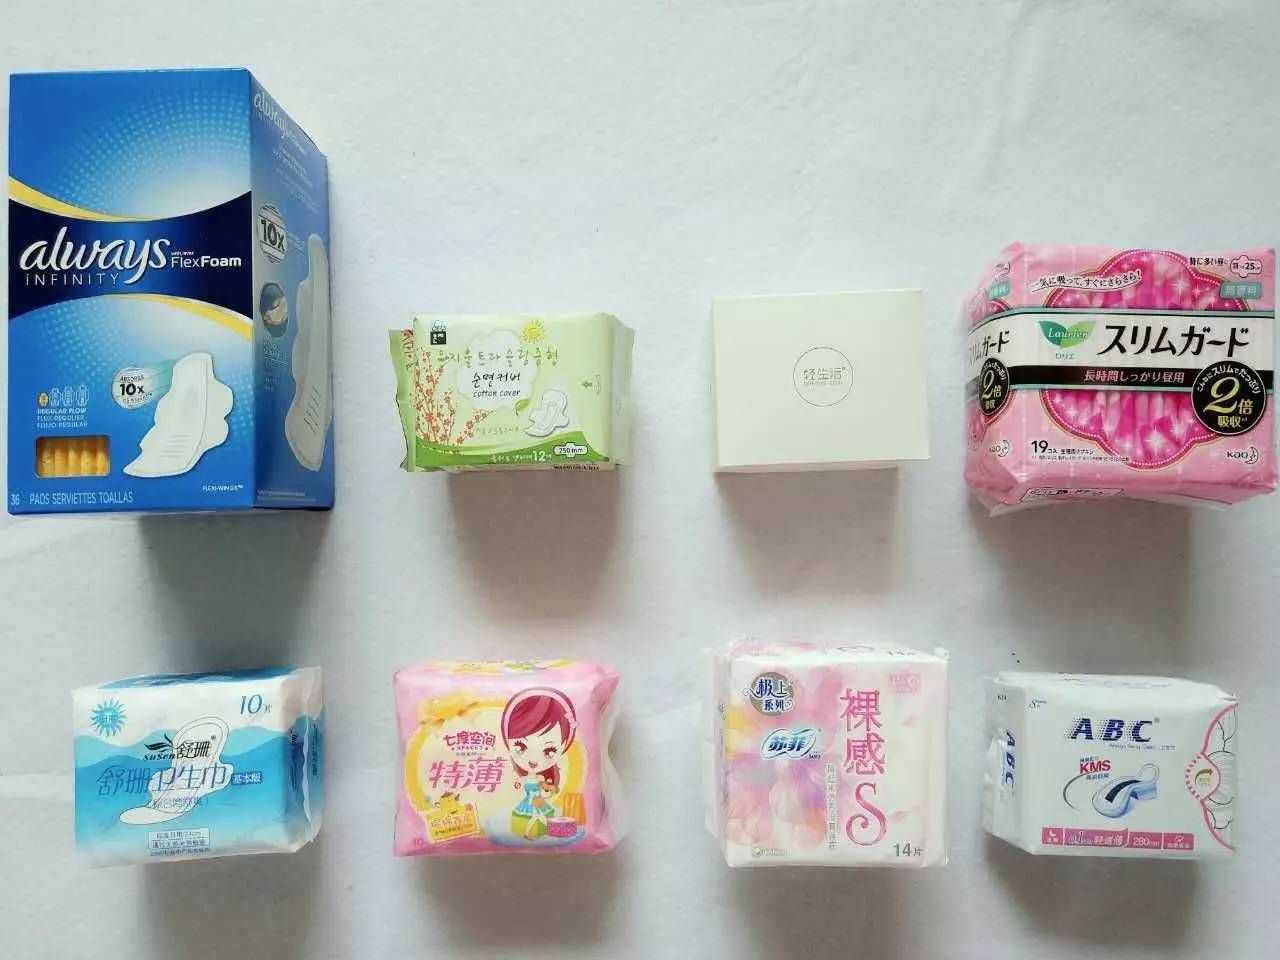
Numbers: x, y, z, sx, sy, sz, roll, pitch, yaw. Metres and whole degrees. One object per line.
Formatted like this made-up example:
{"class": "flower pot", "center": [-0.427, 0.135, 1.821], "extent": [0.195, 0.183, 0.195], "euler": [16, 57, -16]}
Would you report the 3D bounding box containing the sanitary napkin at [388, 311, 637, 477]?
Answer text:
{"class": "sanitary napkin", "center": [-0.221, -0.154, 2.181], "extent": [0.345, 0.263, 0.064], "euler": [-1, 3, -4]}
